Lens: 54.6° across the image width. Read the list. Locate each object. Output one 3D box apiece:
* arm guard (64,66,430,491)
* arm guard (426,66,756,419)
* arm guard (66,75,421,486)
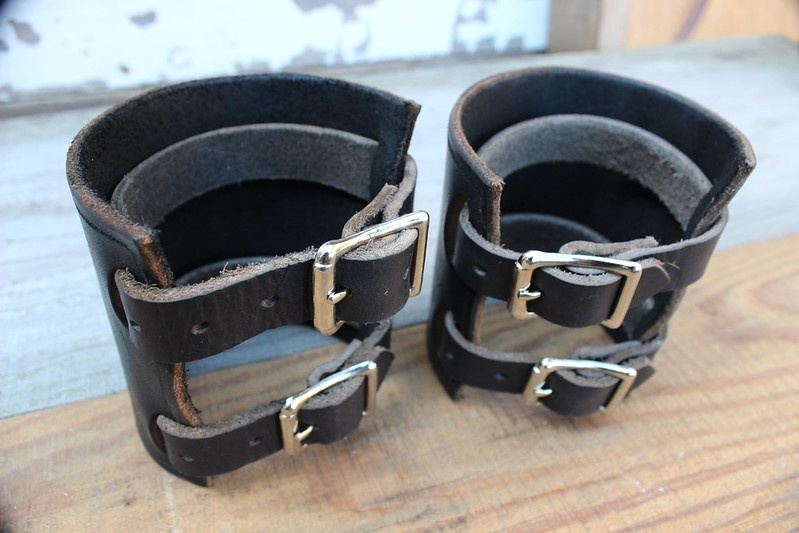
[{"bbox_3d":[-0.313,-0.003,1.772,0.677,0.690,0.515,-17,52,-19],"label":"arm guard"},{"bbox_3d":[0.386,-0.038,1.863,0.660,0.647,0.676,17,41,17],"label":"arm guard"},{"bbox_3d":[-0.328,0.034,1.765,0.714,0.734,0.567,-22,50,-26],"label":"arm guard"}]
